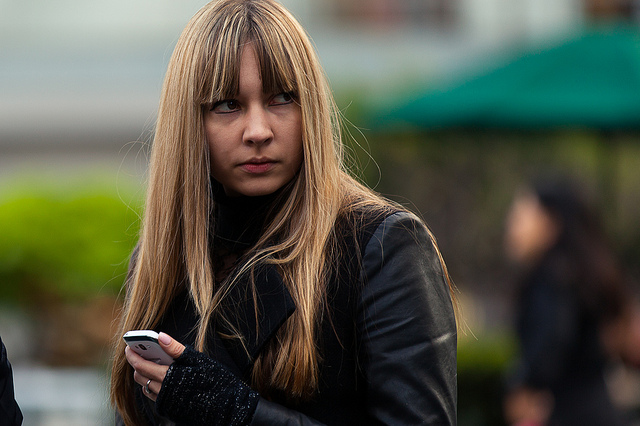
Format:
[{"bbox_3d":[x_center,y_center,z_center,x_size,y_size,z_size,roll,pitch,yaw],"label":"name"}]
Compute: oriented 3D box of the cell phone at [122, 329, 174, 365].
[{"bbox_3d":[-0.811,0.655,4.886,0.174,0.302,0.068,-3,51,18],"label":"cell phone"}]
